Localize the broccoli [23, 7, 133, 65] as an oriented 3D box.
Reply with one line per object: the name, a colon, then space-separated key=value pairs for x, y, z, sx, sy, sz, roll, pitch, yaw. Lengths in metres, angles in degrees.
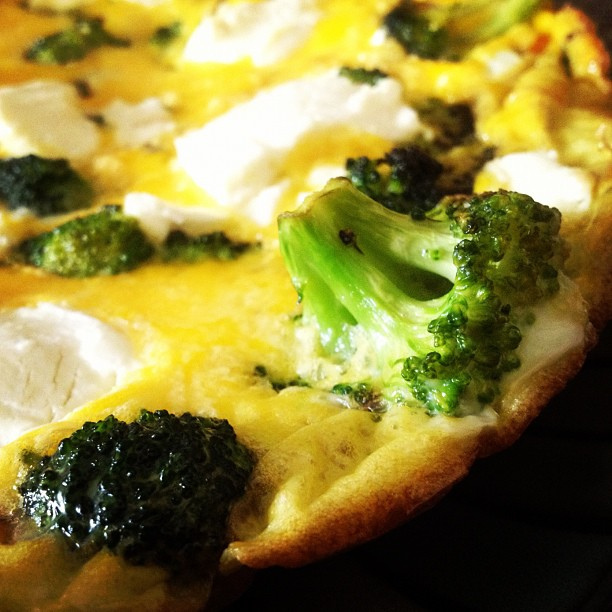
broccoli: x=-0.425 y=-0.503 z=1.491 sx=0.188 sy=0.036 sz=0.086 roll=-14 pitch=77 yaw=-14

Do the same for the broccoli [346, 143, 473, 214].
broccoli: x=0.166 y=-0.208 z=1.418 sx=0.195 sy=0.072 sz=0.117 roll=25 pitch=70 yaw=7

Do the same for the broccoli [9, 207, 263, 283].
broccoli: x=-0.286 y=-0.131 z=1.484 sx=0.396 sy=0.134 sz=0.076 roll=0 pitch=14 yaw=0

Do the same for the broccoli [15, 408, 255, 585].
broccoli: x=-0.234 y=0.220 z=1.011 sx=0.280 sy=0.176 sz=0.070 roll=-1 pitch=-8 yaw=-40

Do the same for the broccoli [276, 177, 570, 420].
broccoli: x=0.143 y=-0.005 z=1.170 sx=0.419 sy=0.267 sz=0.332 roll=13 pitch=48 yaw=13
